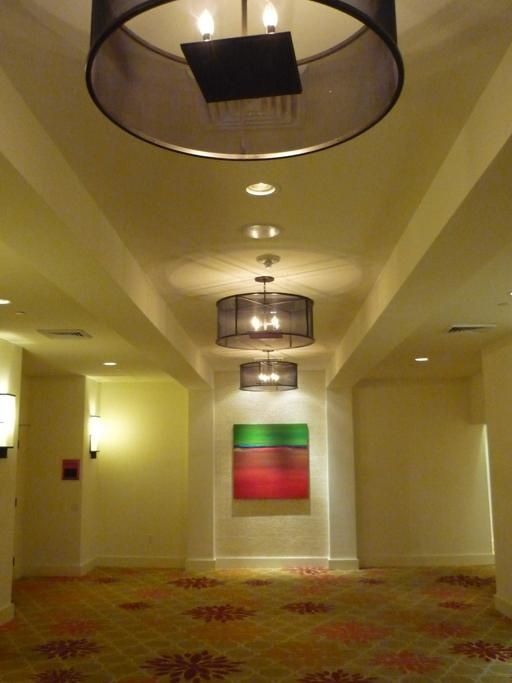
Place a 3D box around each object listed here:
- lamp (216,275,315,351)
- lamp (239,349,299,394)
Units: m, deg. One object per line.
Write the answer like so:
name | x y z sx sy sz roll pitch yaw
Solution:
lamp | 0.078 -0.150 3.992 0.540 0.375 0.532 -1 -14 2
lamp | 0.134 0.370 6.695 0.525 0.451 0.702 9 -16 -36
